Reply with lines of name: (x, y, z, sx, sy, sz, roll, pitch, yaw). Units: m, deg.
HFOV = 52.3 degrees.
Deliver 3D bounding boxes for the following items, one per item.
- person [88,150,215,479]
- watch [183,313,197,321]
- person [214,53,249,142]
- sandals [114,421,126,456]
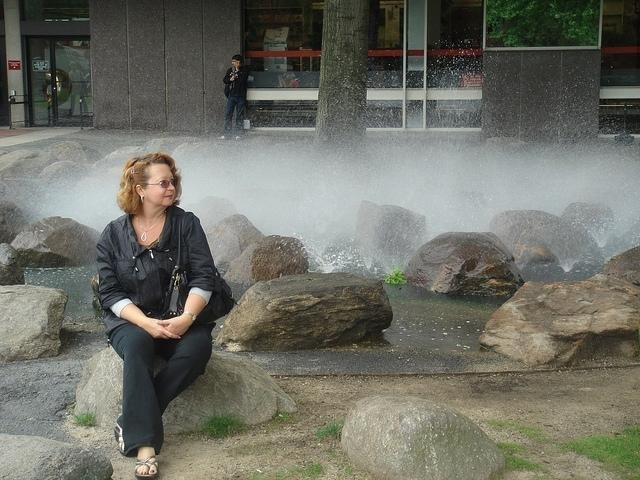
person: (-1.273, 0.414, 4.947, 0.927, 2.083, 0.900, 9, 12, 42)
watch: (-0.998, 0.578, 4.965, 0.063, 0.073, 0.047, -7, 30, 32)
person: (-2.399, -3.984, 18.254, 0.663, 2.278, 0.713, 0, 9, -8)
sandals: (-1.452, 1.435, 4.693, 0.035, 0.253, 0.287, -3, 10, -24)
